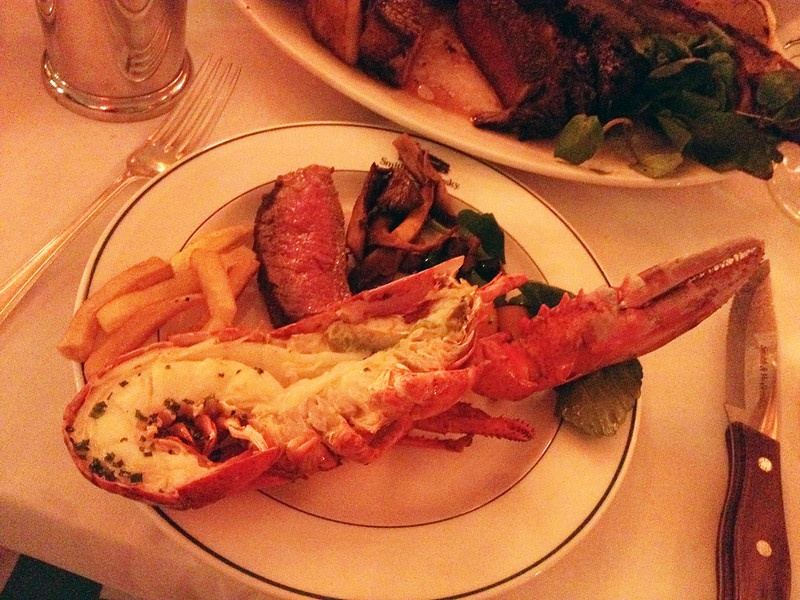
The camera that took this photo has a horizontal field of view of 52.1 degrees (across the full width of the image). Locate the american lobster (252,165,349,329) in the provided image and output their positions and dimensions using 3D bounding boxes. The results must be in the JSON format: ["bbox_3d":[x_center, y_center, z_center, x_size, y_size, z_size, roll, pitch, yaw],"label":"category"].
[{"bbox_3d":[-0.229,-0.112,1.979,0.219,0.486,0.049,-13,51,-6],"label":"american lobster"}]

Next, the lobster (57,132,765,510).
[{"bbox_3d":[-0.068,0.136,1.664,1.050,0.285,0.736,-18,55,-21],"label":"lobster"}]
